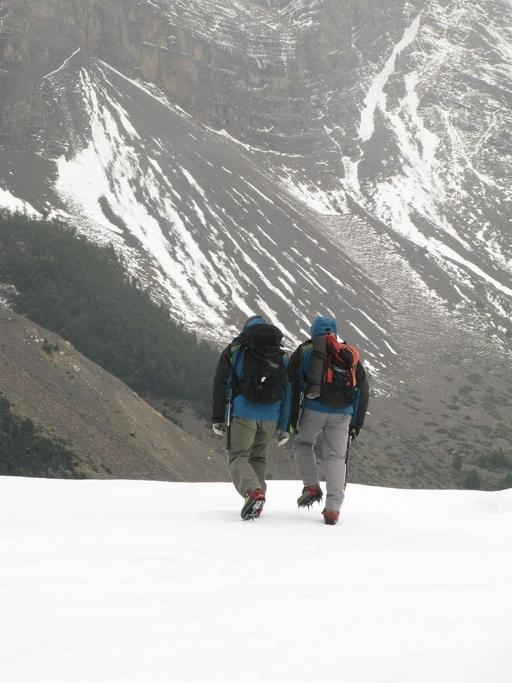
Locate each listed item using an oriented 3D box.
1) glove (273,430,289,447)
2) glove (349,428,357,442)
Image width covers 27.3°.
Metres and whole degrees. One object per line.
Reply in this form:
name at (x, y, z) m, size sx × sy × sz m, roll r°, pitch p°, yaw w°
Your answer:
glove at (0.747, 2.810, 30.846) m, size 0.384 × 0.380 × 0.448 m, roll -4°, pitch 2°, yaw -39°
glove at (2.895, 2.744, 31.321) m, size 0.254 × 0.308 × 0.131 m, roll 5°, pitch -12°, yaw 37°
